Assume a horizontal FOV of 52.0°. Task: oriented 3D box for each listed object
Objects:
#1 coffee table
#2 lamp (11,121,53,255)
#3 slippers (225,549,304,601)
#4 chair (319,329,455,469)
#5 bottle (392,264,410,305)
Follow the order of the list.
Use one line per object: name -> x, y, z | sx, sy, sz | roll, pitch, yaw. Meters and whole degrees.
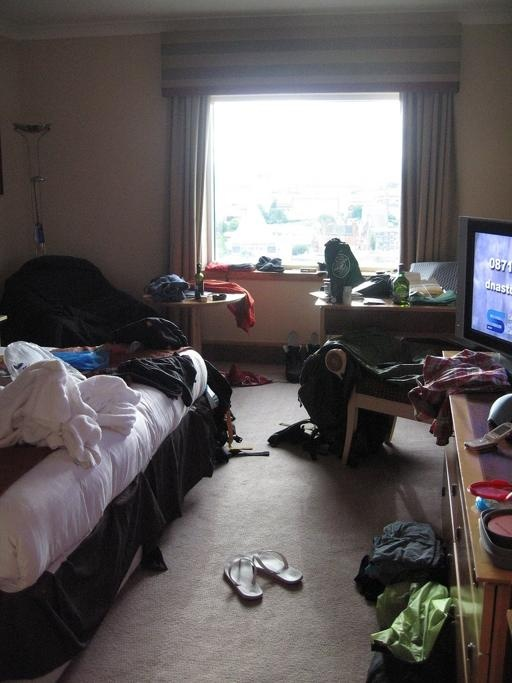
coffee table -> -0.433, -0.125, 3.854 | 0.356, 0.374, 0.346 | -16, 18, -31
lamp -> -1.919, -1.364, 4.598 | 0.312, 1.203, 0.826 | -4, 11, -23
slippers -> 0.010, 0.776, 1.783 | 0.237, 0.044, 0.246 | -5, 11, -30
chair -> 0.632, 0.243, 2.787 | 0.621, 0.662, 0.680 | 6, 2, 28
bottle -> 0.881, -0.344, 3.173 | 0.107, 0.229, 0.358 | 3, 10, 15
